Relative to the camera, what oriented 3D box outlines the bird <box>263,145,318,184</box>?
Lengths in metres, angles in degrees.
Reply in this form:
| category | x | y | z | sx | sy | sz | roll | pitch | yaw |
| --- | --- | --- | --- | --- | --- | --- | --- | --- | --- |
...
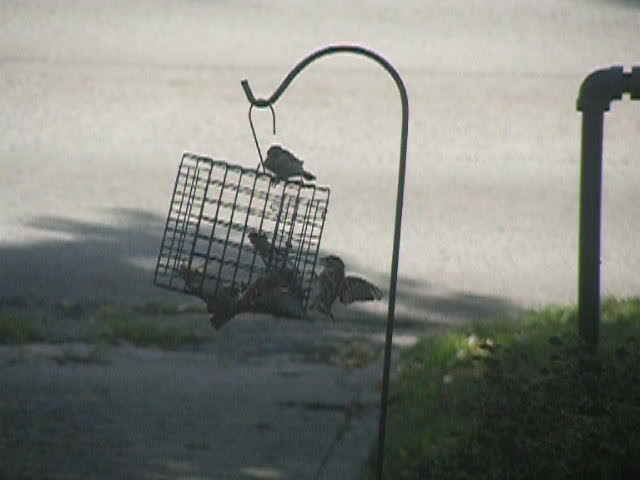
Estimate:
| category | x | y | z | sx | sy | sz | roll | pitch | yaw |
| --- | --- | --- | --- | --- | --- | --- | --- | --- | --- |
| bird | -0.391 | -0.918 | 19.564 | 0.714 | 0.401 | 0.395 | 0 | 7 | -30 |

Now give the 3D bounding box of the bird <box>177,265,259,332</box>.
| category | x | y | z | sx | sy | sz | roll | pitch | yaw |
| --- | --- | --- | --- | --- | --- | --- | --- | --- | --- |
| bird | -1.211 | 0.712 | 19.737 | 0.946 | 0.699 | 0.362 | 4 | -3 | -6 |

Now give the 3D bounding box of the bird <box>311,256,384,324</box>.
| category | x | y | z | sx | sy | sz | roll | pitch | yaw |
| --- | --- | --- | --- | --- | --- | --- | --- | --- | --- |
| bird | 0.161 | 0.548 | 18.719 | 0.851 | 0.665 | 0.364 | 10 | -9 | 10 |

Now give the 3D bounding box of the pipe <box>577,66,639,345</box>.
| category | x | y | z | sx | sy | sz | roll | pitch | yaw |
| --- | --- | --- | --- | --- | --- | --- | --- | --- | --- |
| pipe | 3.318 | -0.406 | 19.713 | 0.633 | 3.286 | 0.245 | 2 | -3 | 10 |
